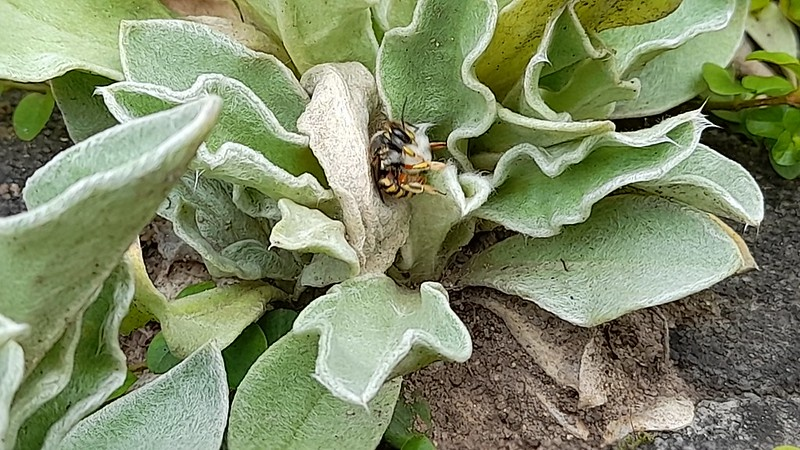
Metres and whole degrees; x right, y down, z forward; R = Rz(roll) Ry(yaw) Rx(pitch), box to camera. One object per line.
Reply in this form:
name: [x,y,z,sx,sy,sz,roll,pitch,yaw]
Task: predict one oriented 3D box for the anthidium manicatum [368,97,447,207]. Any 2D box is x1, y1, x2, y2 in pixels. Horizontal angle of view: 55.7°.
anthidium manicatum: [0.019,-0.151,1.578,0.163,0.106,0.199,-4,73,-2]
